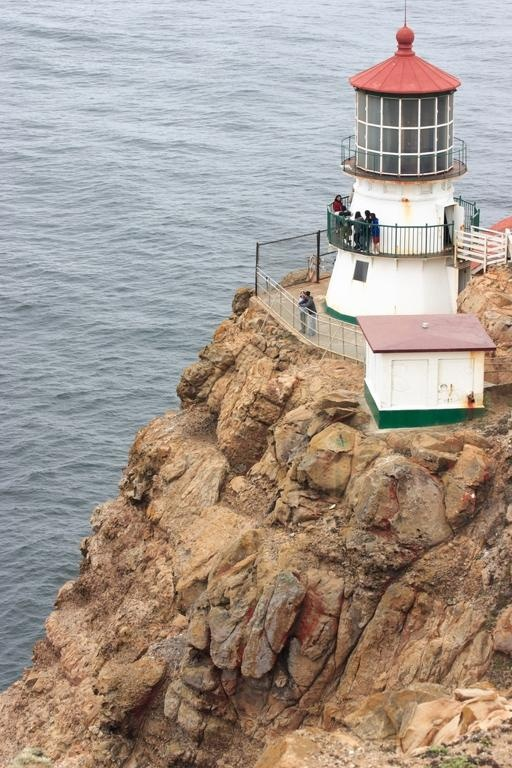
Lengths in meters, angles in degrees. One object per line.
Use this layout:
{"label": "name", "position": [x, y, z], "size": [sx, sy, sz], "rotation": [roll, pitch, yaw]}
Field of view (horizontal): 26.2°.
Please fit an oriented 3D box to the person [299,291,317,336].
{"label": "person", "position": [1.651, -2.250, 35.224], "size": [0.537, 1.355, 1.264], "rotation": [1, 8, -1]}
